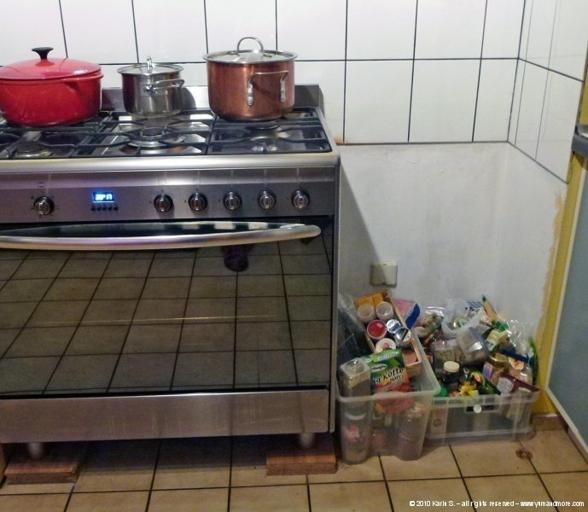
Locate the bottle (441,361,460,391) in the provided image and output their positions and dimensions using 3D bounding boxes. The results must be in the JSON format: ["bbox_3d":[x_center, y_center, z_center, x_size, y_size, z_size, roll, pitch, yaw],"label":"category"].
[{"bbox_3d":[0.519,0.400,1.634,0.073,0.092,0.062,-4,28,-8],"label":"bottle"}]

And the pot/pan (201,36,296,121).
[{"bbox_3d":[-0.141,-0.519,1.450,0.263,0.197,0.267,-24,42,-36],"label":"pot/pan"}]

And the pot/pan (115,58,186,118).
[{"bbox_3d":[-0.430,-0.497,1.480,0.192,0.179,0.258,-3,37,-12],"label":"pot/pan"}]

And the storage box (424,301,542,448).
[{"bbox_3d":[0.569,0.420,1.699,0.479,0.243,0.420,-2,27,0],"label":"storage box"}]

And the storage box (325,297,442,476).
[{"bbox_3d":[0.259,0.431,1.586,0.311,0.220,0.470,-1,23,0],"label":"storage box"}]
